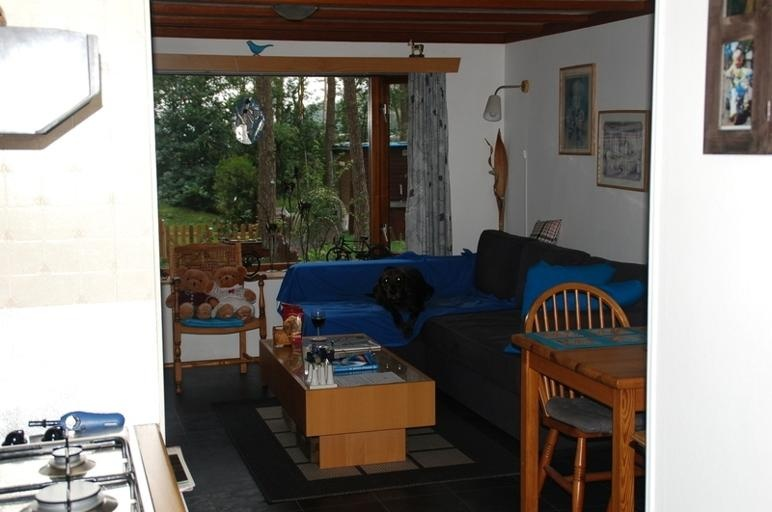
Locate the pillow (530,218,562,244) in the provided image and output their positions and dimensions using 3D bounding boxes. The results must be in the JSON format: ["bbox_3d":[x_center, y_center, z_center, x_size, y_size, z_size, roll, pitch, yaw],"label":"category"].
[{"bbox_3d":[1.482,-0.227,5.711,0.081,0.260,0.271,29,-11,-36],"label":"pillow"}]

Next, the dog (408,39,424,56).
[{"bbox_3d":[0.315,-2.156,6.439,0.201,0.226,0.122,1,11,-1],"label":"dog"}]

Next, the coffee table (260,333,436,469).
[{"bbox_3d":[-0.209,0.673,3.851,0.614,0.375,1.130,-1,7,-17],"label":"coffee table"}]

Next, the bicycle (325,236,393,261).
[{"bbox_3d":[-0.313,-0.116,6.742,0.594,0.347,0.296,-2,5,-2],"label":"bicycle"}]

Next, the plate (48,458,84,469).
[{"bbox_3d":[-0.757,0.495,1.474,0.039,0.009,0.039,0,3,-5],"label":"plate"}]

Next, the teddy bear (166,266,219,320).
[{"bbox_3d":[-1.697,0.330,5.468,0.437,0.425,0.252,4,1,-26],"label":"teddy bear"}]

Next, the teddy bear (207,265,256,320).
[{"bbox_3d":[-1.381,0.348,5.620,0.463,0.515,0.430,1,-10,-19],"label":"teddy bear"}]

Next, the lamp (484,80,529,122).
[{"bbox_3d":[1.246,-1.624,6.541,0.467,0.404,0.521,-1,9,2],"label":"lamp"}]

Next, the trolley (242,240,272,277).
[{"bbox_3d":[-1.438,0.041,6.635,0.436,0.372,0.312,-2,3,-8],"label":"trolley"}]
